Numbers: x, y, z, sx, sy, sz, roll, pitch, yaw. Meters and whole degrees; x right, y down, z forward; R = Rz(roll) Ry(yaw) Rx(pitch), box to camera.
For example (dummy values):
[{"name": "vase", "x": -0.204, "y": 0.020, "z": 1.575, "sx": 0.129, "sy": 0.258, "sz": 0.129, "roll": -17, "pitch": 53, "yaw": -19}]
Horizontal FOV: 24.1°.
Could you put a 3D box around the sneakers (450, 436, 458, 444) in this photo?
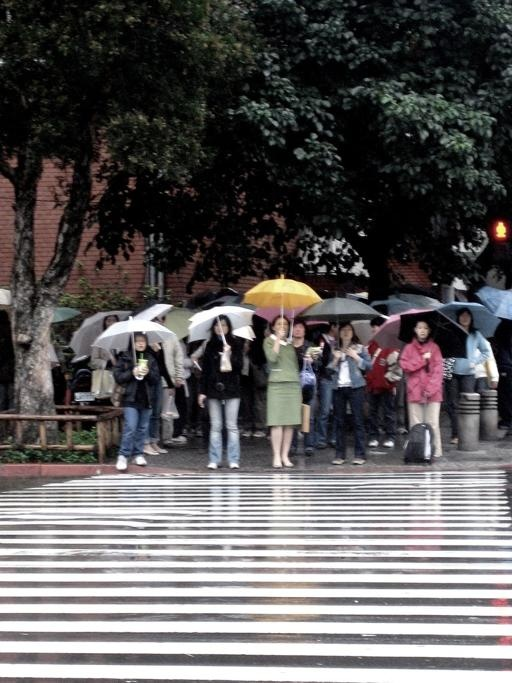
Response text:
[{"name": "sneakers", "x": 2.629, "y": 1.311, "z": 15.847, "sx": 0.085, "sy": 0.065, "sz": 0.128, "roll": 1, "pitch": 1, "yaw": 8}]

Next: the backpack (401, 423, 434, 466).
[{"name": "backpack", "x": 1.841, "y": 1.154, "z": 13.449, "sx": 0.325, "sy": 0.464, "sz": 0.328, "roll": 0, "pitch": 2, "yaw": 5}]

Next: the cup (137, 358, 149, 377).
[{"name": "cup", "x": -1.228, "y": 0.291, "z": 13.175, "sx": 0.105, "sy": 0.174, "sz": 0.168, "roll": 0, "pitch": 2, "yaw": -7}]

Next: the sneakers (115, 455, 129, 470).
[{"name": "sneakers", "x": -1.473, "y": 1.350, "z": 13.343, "sx": 0.145, "sy": 0.159, "sz": 0.384, "roll": 0, "pitch": -8, "yaw": -7}]

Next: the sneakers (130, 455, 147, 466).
[{"name": "sneakers", "x": -1.315, "y": 1.353, "z": 13.631, "sx": 0.080, "sy": 0.081, "sz": 0.212, "roll": -4, "pitch": -4, "yaw": -22}]

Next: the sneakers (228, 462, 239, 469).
[{"name": "sneakers", "x": -0.225, "y": 1.391, "z": 13.423, "sx": 0.113, "sy": 0.077, "sz": 0.178, "roll": 0, "pitch": 1, "yaw": -3}]

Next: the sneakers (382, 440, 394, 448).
[{"name": "sneakers", "x": 1.714, "y": 1.315, "z": 15.408, "sx": 0.101, "sy": 0.075, "sz": 0.257, "roll": 0, "pitch": -4, "yaw": 10}]

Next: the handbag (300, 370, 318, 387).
[{"name": "handbag", "x": 0.635, "y": 0.477, "z": 14.292, "sx": 0.206, "sy": 0.139, "sz": 0.202, "roll": -10, "pitch": 41, "yaw": -42}]

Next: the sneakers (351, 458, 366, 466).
[{"name": "sneakers", "x": 1.179, "y": 1.352, "z": 13.589, "sx": 0.152, "sy": 0.086, "sz": 0.292, "roll": 0, "pitch": 1, "yaw": 5}]

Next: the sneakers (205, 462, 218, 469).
[{"name": "sneakers", "x": -0.476, "y": 1.400, "z": 13.504, "sx": 0.114, "sy": 0.077, "sz": 0.115, "roll": 0, "pitch": 2, "yaw": 0}]
